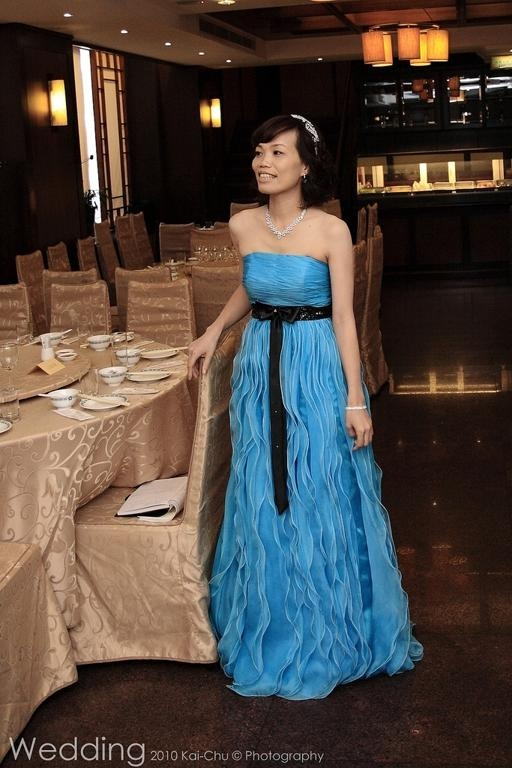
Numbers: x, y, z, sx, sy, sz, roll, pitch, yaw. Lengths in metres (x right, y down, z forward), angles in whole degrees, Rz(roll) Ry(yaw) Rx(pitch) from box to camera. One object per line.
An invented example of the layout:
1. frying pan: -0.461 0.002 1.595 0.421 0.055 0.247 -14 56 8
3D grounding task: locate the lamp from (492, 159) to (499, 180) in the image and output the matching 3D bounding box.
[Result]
1. lamp: 4.048 -3.643 9.798 0.134 0.380 0.110 -2 4 17

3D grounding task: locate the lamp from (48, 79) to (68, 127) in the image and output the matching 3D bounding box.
1. lamp: -2.727 -3.834 7.930 0.226 0.598 0.236 -4 4 -18

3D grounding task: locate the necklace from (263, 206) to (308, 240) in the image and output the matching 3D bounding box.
1. necklace: 0.068 -0.420 1.504 0.135 0.090 0.045 1 5 45

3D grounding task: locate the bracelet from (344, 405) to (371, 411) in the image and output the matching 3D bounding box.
1. bracelet: 0.257 0.059 1.461 0.062 0.016 0.035 -4 4 -22

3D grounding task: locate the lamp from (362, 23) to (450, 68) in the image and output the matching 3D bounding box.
1. lamp: 2.157 -4.675 8.185 1.103 0.431 1.020 -1 5 1

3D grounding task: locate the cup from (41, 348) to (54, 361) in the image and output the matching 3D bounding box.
1. cup: -0.873 -0.117 2.457 0.063 0.065 0.065 -4 1 0

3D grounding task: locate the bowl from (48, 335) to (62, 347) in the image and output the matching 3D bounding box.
1. bowl: -1.020 -0.226 2.919 0.065 0.028 0.049 0 9 -4

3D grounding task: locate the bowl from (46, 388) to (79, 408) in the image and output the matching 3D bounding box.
1. bowl: -0.597 0.039 1.811 0.054 0.031 0.084 -2 4 3

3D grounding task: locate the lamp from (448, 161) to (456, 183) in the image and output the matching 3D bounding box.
1. lamp: 3.326 -3.629 9.887 0.139 0.392 0.100 -2 3 11

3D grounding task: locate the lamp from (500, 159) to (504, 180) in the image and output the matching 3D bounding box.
1. lamp: 4.130 -3.644 9.793 0.076 0.337 0.097 -1 4 23

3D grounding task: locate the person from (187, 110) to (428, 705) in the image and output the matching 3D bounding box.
1. person: 0.148 0.044 1.596 0.594 1.461 0.567 1 11 18
